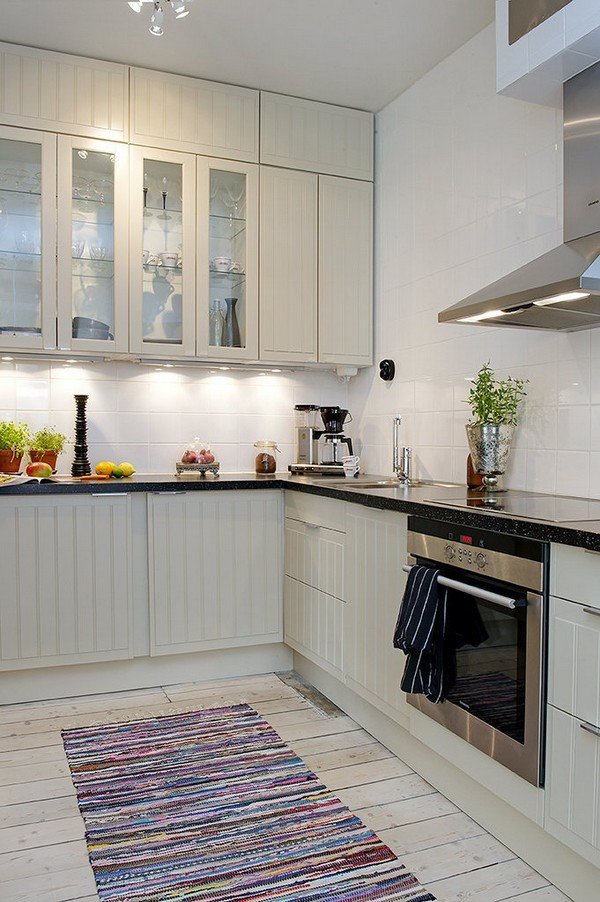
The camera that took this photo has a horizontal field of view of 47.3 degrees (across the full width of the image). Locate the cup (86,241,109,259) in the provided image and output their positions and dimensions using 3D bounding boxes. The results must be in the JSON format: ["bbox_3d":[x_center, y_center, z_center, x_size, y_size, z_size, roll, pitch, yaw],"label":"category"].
[{"bbox_3d":[-0.858,-0.860,2.921,0.065,0.064,0.081,1,-2,-25],"label":"cup"}]

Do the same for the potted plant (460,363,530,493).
[{"bbox_3d":[0.679,-0.097,2.393,0.196,0.454,0.398,-1,-2,14],"label":"potted plant"}]

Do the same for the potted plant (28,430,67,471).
[{"bbox_3d":[-1.070,-0.031,2.990,0.192,0.213,0.153,-1,4,-15],"label":"potted plant"}]

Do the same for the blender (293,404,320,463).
[{"bbox_3d":[0.037,-0.080,3.419,0.147,0.286,0.162,1,2,3],"label":"blender"}]

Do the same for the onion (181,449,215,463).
[{"bbox_3d":[-0.456,0.033,3.161,0.101,0.048,0.077,2,-3,-40],"label":"onion"}]

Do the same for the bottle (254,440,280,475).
[{"bbox_3d":[-0.168,0.033,3.403,0.144,0.170,0.109,-2,-1,16],"label":"bottle"}]

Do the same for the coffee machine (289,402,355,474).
[{"bbox_3d":[0.072,-0.050,3.338,0.343,0.430,0.260,0,2,-3],"label":"coffee machine"}]

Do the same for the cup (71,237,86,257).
[{"bbox_3d":[-0.928,-0.857,2.882,0.047,0.081,0.073,0,-2,4],"label":"cup"}]

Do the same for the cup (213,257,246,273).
[{"bbox_3d":[-0.332,-0.848,3.152,0.069,0.056,0.125,-8,-12,44],"label":"cup"}]

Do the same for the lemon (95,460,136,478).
[{"bbox_3d":[-0.819,0.066,3.040,0.137,0.077,0.079,-5,6,-36],"label":"lemon"}]

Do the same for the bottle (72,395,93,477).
[{"bbox_3d":[-0.949,-0.062,2.975,0.070,0.355,0.233,0,-2,-18],"label":"bottle"}]

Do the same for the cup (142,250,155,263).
[{"bbox_3d":[-0.660,-0.848,2.994,0.036,0.051,0.048,1,-7,-8],"label":"cup"}]
